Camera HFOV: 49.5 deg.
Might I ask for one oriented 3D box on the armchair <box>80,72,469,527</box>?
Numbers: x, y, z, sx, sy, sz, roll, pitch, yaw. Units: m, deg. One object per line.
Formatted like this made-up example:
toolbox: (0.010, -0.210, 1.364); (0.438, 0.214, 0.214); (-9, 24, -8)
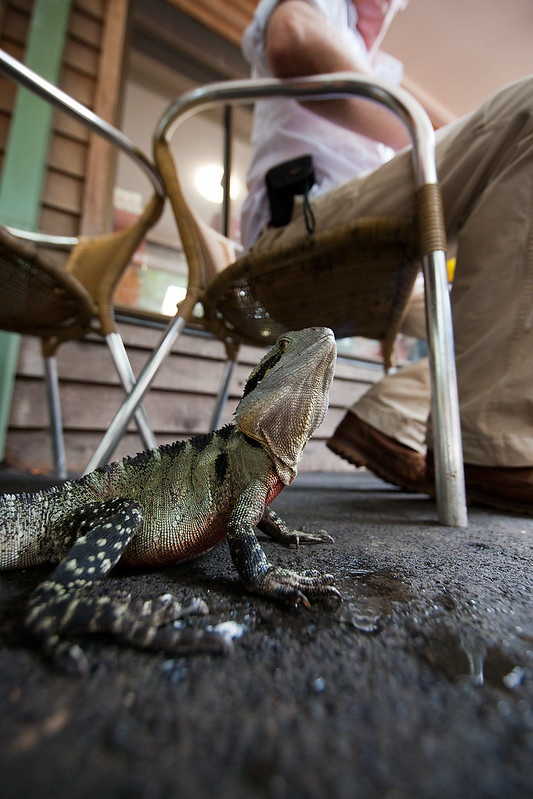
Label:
armchair: (0.077, -0.210, 1.727); (0.971, 0.992, 1.142); (0, -6, 0)
